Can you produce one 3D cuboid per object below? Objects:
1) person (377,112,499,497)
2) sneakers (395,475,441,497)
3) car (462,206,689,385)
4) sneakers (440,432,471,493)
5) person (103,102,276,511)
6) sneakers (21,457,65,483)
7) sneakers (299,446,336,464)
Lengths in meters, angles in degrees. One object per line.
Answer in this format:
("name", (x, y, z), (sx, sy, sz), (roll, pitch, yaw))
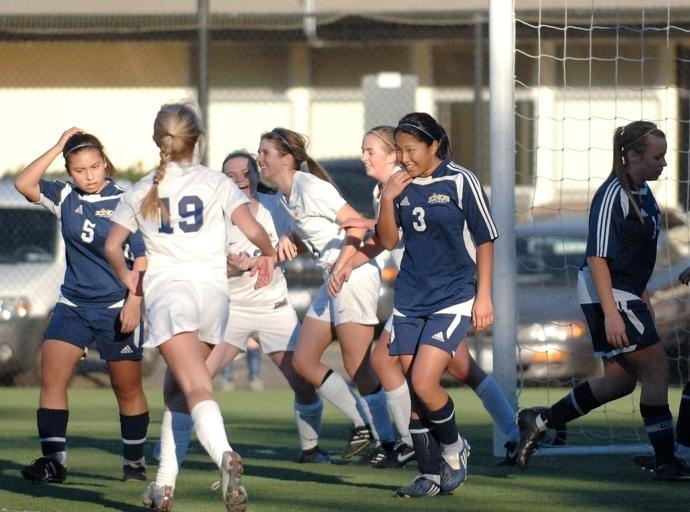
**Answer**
("person", (0.702, 0.359, 10.043), (0.879, 2.861, 0.550), (-2, 3, -1))
("sneakers", (0.543, 1.715, 9.958), (0.275, 0.126, 0.154), (3, -6, -11))
("car", (2.713, 0.417, 14.906), (1.622, 1.472, 2.809), (-2, -6, 10))
("sneakers", (0.832, 1.578, 10.036), (0.160, 0.482, 0.207), (1, -10, 38))
("person", (-1.125, 0.325, 9.552), (1.127, 2.858, 0.846), (-1, 3, 5))
("sneakers", (-2.289, 1.651, 10.263), (0.156, 0.157, 0.363), (6, -13, 35))
("sneakers", (-0.235, 1.659, 11.107), (0.321, 0.169, 0.121), (-1, -4, 2))
